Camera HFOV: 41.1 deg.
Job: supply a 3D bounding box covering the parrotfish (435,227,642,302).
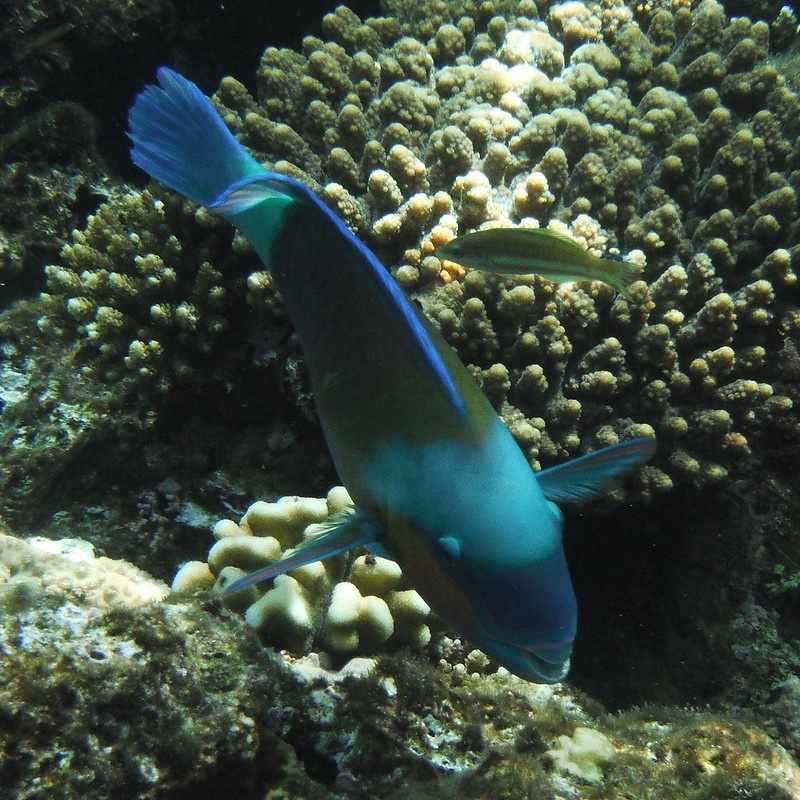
[{"bbox_3d":[0.689,-0.721,5.540,1.296,0.375,0.306,5,-20,5],"label":"parrotfish"}]
